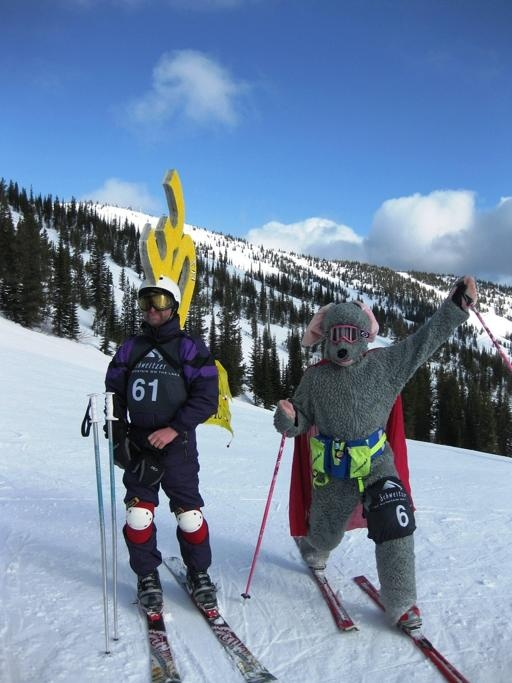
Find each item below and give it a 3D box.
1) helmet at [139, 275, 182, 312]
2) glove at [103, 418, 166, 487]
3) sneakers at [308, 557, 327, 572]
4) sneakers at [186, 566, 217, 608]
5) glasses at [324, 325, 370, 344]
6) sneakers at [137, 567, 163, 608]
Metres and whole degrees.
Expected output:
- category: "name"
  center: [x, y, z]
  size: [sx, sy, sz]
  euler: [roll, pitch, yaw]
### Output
- category: "helmet"
  center: [-0.670, -0.371, 4.756]
  size: [0.219, 0.234, 0.260]
  euler: [0, -36, 2]
- category: "glove"
  center: [-0.765, 0.745, 4.450]
  size: [0.325, 0.507, 0.204]
  euler: [-22, 7, 11]
- category: "sneakers"
  center: [0.438, 1.659, 5.004]
  size: [0.120, 0.110, 0.147]
  euler: [1, -12, -28]
- category: "sneakers"
  center: [-0.367, 1.671, 4.517]
  size: [0.100, 0.135, 0.298]
  euler: [0, 29, -17]
- category: "glasses"
  center: [0.647, -0.049, 4.620]
  size: [0.272, 0.124, 0.126]
  euler: [2, 4, 3]
- category: "sneakers"
  center: [-0.680, 1.641, 4.360]
  size: [0.100, 0.130, 0.295]
  euler: [2, -1, -11]
